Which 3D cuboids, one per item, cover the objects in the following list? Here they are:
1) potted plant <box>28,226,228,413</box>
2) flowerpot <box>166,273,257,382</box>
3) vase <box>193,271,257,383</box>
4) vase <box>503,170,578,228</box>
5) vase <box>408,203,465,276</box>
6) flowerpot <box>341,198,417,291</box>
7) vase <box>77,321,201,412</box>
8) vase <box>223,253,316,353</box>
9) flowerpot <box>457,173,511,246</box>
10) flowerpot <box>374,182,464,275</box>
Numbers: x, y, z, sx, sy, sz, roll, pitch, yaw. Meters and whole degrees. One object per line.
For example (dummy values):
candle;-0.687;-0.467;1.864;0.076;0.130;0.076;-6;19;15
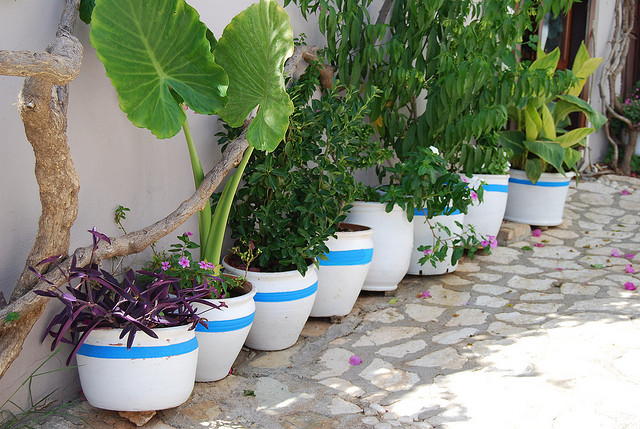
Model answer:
potted plant;-1.000;0.595;2.592;0.924;0.790;0.598;5;-6;-36
flowerpot;-0.601;0.664;2.929;0.531;0.530;0.565;-1;6;-6
vase;-0.513;0.661;2.866;0.435;0.487;0.450;2;8;5
vase;2.432;-0.207;5.383;0.679;0.528;0.691;-1;9;-16
vase;0.982;0.233;3.914;0.496;0.451;0.587;0;3;-4
flowerpot;0.499;0.183;4.058;0.623;0.727;0.645;8;15;19
vase;-0.911;0.757;2.459;0.470;0.341;0.488;-2;-8;24
vase;-0.309;0.578;3.277;0.546;0.487;0.587;-1;6;-7
flowerpot;1.546;-0.062;4.560;0.275;0.647;0.513;7;17;35
flowerpot;0.950;0.103;4.352;0.759;0.784;0.782;6;12;22
